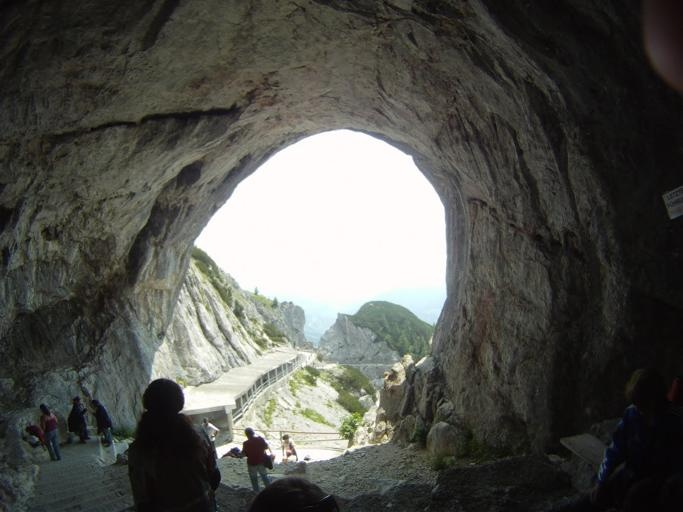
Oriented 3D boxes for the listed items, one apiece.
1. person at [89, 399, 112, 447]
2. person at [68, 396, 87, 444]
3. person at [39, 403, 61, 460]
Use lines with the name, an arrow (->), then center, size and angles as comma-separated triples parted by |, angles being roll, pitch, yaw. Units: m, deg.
person -> -6.728, 4.675, 12.786 | 0.480, 1.280, 1.060 | 2, -12, -30
person -> -7.326, 4.559, 12.556 | 0.453, 1.263, 0.684 | -1, -10, -15
person -> -7.193, 4.367, 11.235 | 0.421, 1.389, 0.552 | -11, -12, 36
